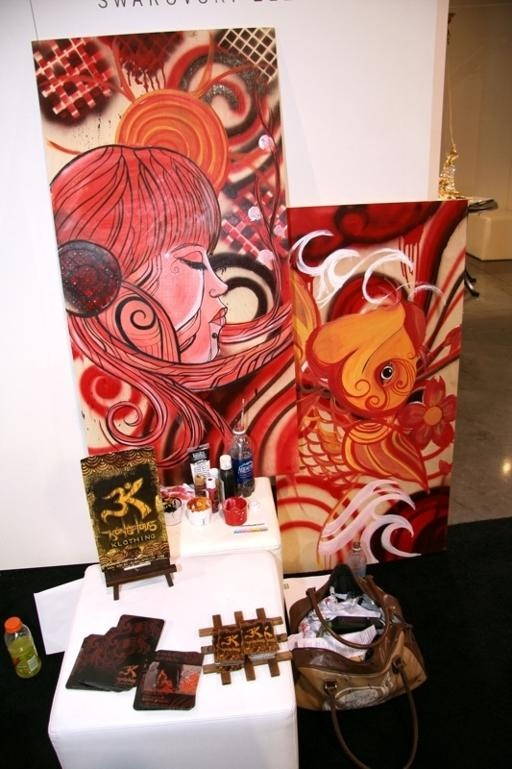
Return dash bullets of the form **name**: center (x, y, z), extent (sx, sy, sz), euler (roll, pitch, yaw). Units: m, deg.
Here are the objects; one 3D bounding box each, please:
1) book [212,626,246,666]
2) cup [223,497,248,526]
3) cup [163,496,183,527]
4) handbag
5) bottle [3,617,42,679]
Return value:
- **book**: center (-0.069, 0.651, 1.402), extent (0.056, 0.021, 0.080), euler (-2, 27, -5)
- **cup**: center (-0.067, 0.407, 1.814), extent (0.086, 0.063, 0.069), euler (-5, 4, 24)
- **cup**: center (-0.272, 0.422, 1.876), extent (0.064, 0.058, 0.079), euler (8, 19, 25)
- **handbag**: center (0.331, 0.836, 1.785), extent (0.450, 0.405, 0.413), euler (-4, 25, 1)
- **bottle**: center (-0.812, 0.898, 1.967), extent (0.090, 0.207, 0.155), euler (-19, 28, -29)
